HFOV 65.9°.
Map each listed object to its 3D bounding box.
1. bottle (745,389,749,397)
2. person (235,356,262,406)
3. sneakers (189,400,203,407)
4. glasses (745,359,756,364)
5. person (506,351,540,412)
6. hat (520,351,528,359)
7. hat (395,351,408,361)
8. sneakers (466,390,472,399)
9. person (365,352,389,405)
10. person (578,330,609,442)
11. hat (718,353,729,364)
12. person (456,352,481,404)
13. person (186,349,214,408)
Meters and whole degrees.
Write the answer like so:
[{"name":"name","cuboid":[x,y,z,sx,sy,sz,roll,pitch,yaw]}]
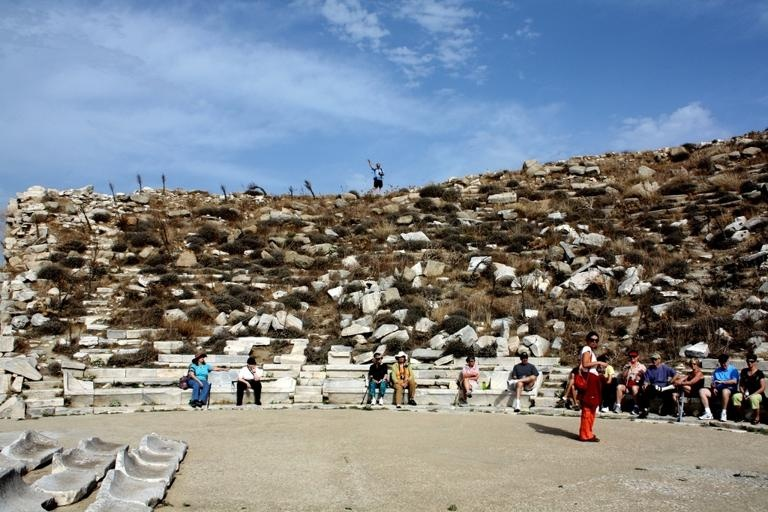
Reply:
[{"name":"bottle","cuboid":[10.283,3.906,16.772,0.122,0.138,0.153,-2,-9,16]},{"name":"person","cuboid":[-4.330,4.008,19.105,0.830,1.506,0.455,3,-8,-13]},{"name":"sneakers","cuboid":[-5.948,4.642,18.700,0.468,0.214,0.273,1,-8,-1]},{"name":"glasses","cuboid":[10.489,3.011,16.850,0.170,0.053,0.160,26,-29,-35]},{"name":"person","cuboid":[4.356,3.913,18.504,0.876,1.791,0.909,0,-8,9]},{"name":"hat","cuboid":[4.440,3.077,18.542,0.275,0.269,0.358,-2,-16,5]},{"name":"hat","cuboid":[0.584,3.336,19.823,0.442,0.177,0.569,-1,-19,0]},{"name":"sneakers","cuboid":[2.729,4.410,18.844,0.157,0.215,0.061,2,-8,-7]},{"name":"person","cuboid":[-0.215,3.944,19.108,0.694,1.620,0.659,1,-8,-1]},{"name":"person","cuboid":[5.096,3.245,14.651,0.552,2.631,0.698,-1,-8,16]},{"name":"hat","cuboid":[9.933,3.010,17.286,0.203,0.296,0.497,-3,-9,26]},{"name":"person","cuboid":[2.711,3.994,19.171,0.637,1.498,0.760,0,-8,6]},{"name":"person","cuboid":[-5.917,3.957,19.015,0.720,1.656,0.778,4,-8,-17]}]
